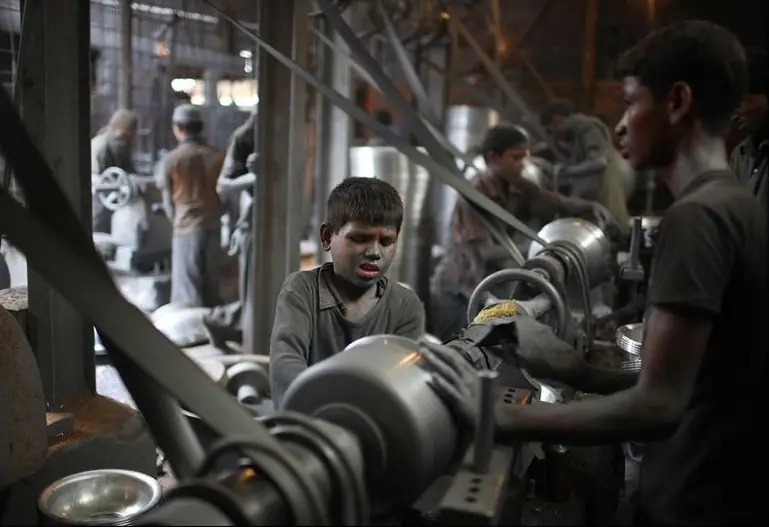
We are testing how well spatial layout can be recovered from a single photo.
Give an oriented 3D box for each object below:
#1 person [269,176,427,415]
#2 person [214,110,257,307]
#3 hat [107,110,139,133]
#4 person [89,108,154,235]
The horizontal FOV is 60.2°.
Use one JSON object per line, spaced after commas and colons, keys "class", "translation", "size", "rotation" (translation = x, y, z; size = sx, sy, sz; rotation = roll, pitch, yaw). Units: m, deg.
{"class": "person", "translation": [-0.142, 0.152, 2.823], "size": [0.688, 1.104, 0.635], "rotation": [4, 5, -38]}
{"class": "person", "translation": [-0.945, -0.379, 4.402], "size": [0.202, 1.240, 0.434], "rotation": [-8, 16, -42]}
{"class": "hat", "translation": [-1.537, -0.837, 3.890], "size": [0.119, 0.105, 0.131], "rotation": [-10, 3, 30]}
{"class": "person", "translation": [-1.690, -0.556, 4.157], "size": [0.259, 0.838, 0.651], "rotation": [-2, 13, -24]}
